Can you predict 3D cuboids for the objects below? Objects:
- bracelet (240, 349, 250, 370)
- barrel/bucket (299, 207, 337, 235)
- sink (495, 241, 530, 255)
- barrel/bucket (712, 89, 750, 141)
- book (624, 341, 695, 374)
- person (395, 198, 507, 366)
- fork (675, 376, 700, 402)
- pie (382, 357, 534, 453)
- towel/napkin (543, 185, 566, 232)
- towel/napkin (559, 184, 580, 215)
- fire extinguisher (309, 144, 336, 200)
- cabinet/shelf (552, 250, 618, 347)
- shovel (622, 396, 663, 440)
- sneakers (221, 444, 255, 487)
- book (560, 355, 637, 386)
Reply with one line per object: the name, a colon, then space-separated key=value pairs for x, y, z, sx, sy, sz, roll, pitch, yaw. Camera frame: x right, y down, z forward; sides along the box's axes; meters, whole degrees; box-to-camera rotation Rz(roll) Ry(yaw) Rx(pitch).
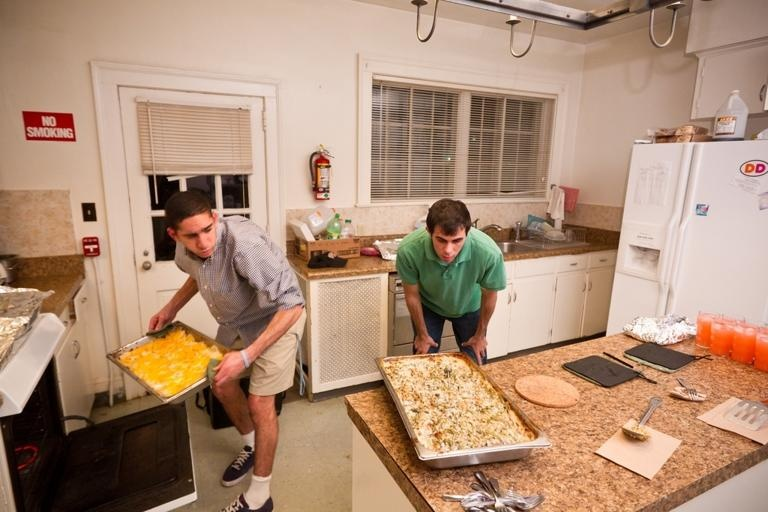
bracelet: x=-0.817 y=0.621 z=2.992 sx=0.022 sy=0.091 sz=0.085 roll=-24 pitch=58 yaw=-25
barrel/bucket: x=-0.604 y=-0.309 z=4.527 sx=0.226 sy=0.124 sz=0.128 roll=-29 pitch=60 yaw=-13
sink: x=1.331 y=-0.080 z=5.136 sx=0.241 sy=0.088 sz=0.245 roll=0 pitch=13 yaw=-5
barrel/bucket: x=2.661 y=-1.078 z=3.891 sx=0.199 sy=0.361 sz=0.102 roll=5 pitch=15 yaw=29
book: x=1.629 y=0.600 z=3.002 sx=0.339 sy=0.074 sz=0.254 roll=-9 pitch=14 yaw=-30
person: x=0.472 y=0.226 z=3.474 sx=0.643 sy=1.259 sz=0.626 roll=-7 pitch=14 yaw=-19
fork: x=1.658 y=0.731 z=2.768 sx=0.042 sy=0.036 sz=0.249 roll=-1 pitch=7 yaw=15
pie: x=0.347 y=0.724 z=2.551 sx=0.497 sy=0.261 sz=0.676 roll=-7 pitch=13 yaw=-21
towel/napkin: x=1.907 y=-0.539 z=5.646 sx=0.200 sy=0.501 sz=0.265 roll=3 pitch=14 yaw=20
towel/napkin: x=2.056 y=-0.633 z=5.608 sx=0.251 sy=0.244 sz=0.066 roll=13 pitch=10 yaw=37
fire extinguisher: x=-0.556 y=-0.742 z=4.582 sx=0.227 sy=0.497 sz=0.135 roll=-7 pitch=14 yaw=-21
cabinet/shelf: x=1.898 y=0.318 z=5.313 sx=0.836 sy=0.948 sz=0.508 roll=-9 pitch=20 yaw=-22
shovel: x=1.319 y=0.804 z=2.590 sx=0.109 sy=0.037 sz=0.323 roll=3 pitch=20 yaw=41
sneakers: x=-1.010 y=1.483 z=3.631 sx=0.151 sy=0.157 sz=0.405 roll=24 pitch=0 yaw=7
book: x=1.221 y=0.657 z=2.877 sx=0.334 sy=0.080 sz=0.250 roll=-8 pitch=14 yaw=-26
